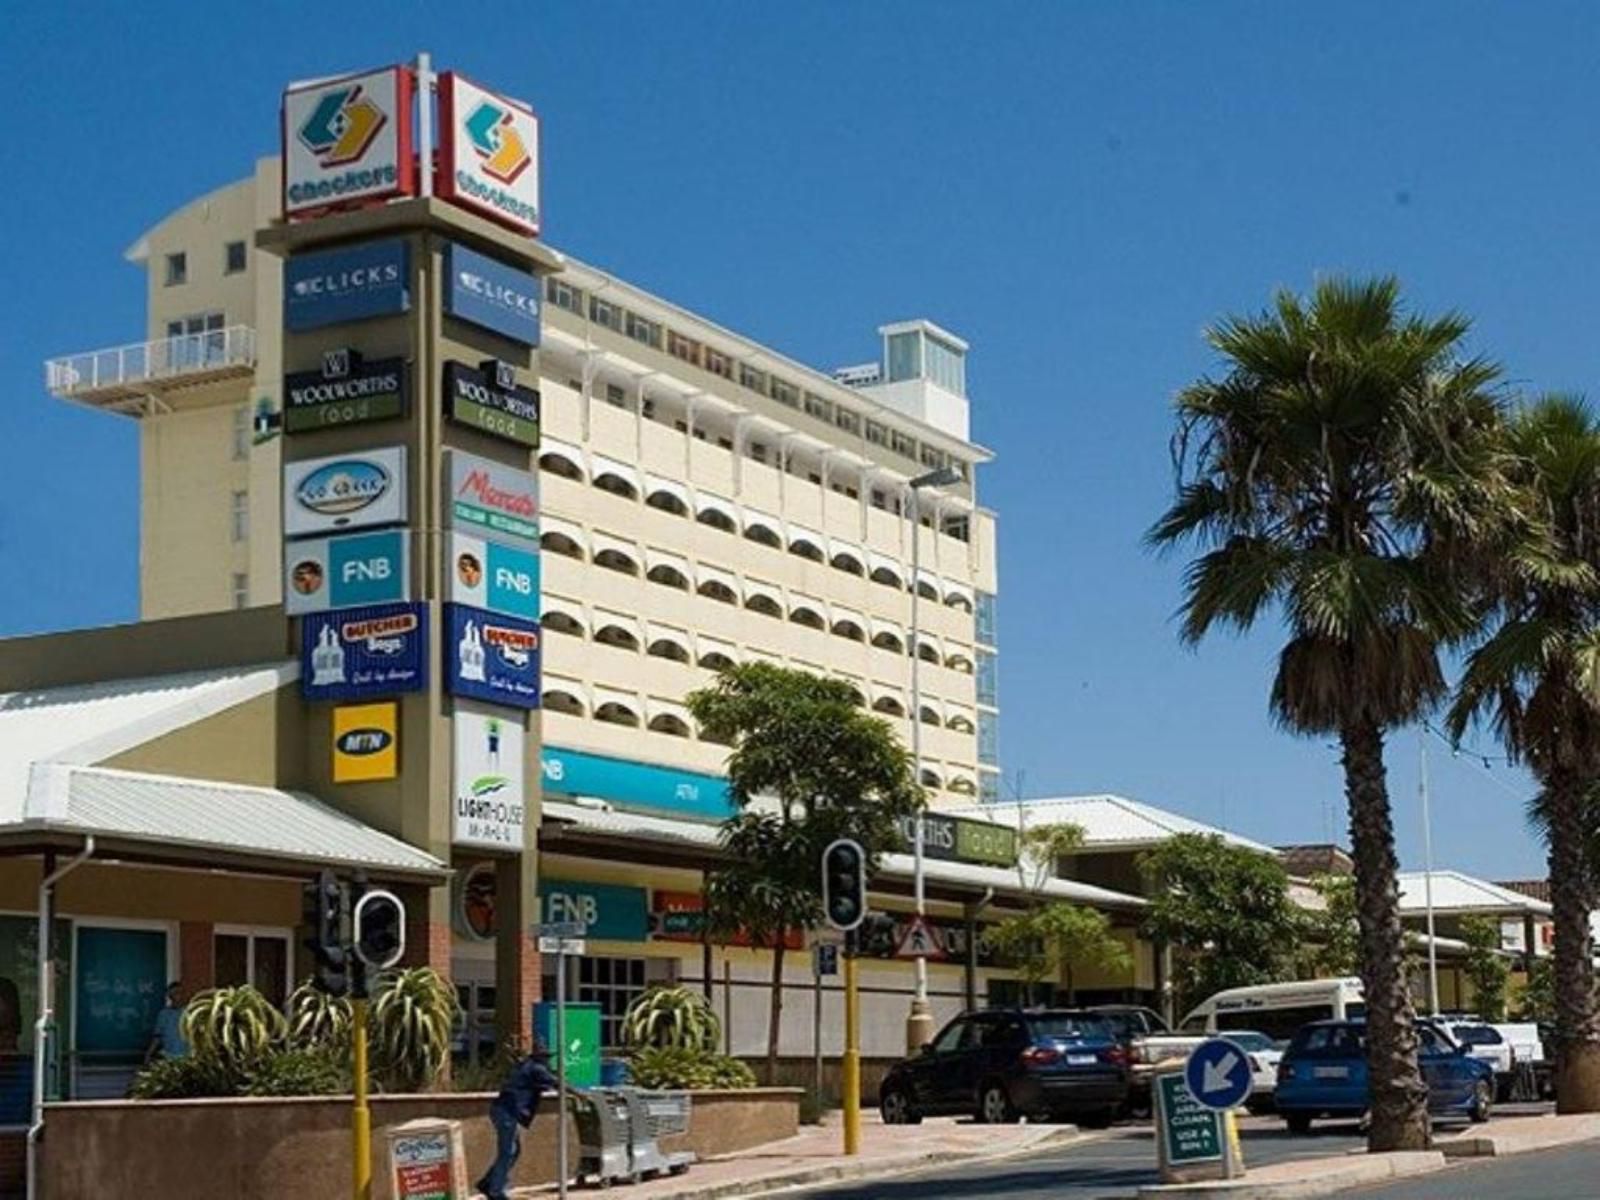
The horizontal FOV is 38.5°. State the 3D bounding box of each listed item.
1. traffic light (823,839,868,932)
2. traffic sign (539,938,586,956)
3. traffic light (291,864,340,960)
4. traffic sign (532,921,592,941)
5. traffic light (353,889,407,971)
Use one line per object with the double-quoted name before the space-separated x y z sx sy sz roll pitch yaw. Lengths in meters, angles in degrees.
"traffic light" 0.649 3.927 32.046 0.565 1.263 0.646 -2 -17 -2
"traffic sign" -2.930 4.211 27.791 0.511 0.209 0.415 0 -5 16
"traffic light" -5.505 3.716 26.458 0.429 1.227 1.660 2 -19 -13
"traffic sign" -2.848 4.016 27.847 0.605 0.246 0.622 1 -7 1
"traffic light" -4.841 3.781 26.466 0.502 1.070 1.050 -1 -18 -5
